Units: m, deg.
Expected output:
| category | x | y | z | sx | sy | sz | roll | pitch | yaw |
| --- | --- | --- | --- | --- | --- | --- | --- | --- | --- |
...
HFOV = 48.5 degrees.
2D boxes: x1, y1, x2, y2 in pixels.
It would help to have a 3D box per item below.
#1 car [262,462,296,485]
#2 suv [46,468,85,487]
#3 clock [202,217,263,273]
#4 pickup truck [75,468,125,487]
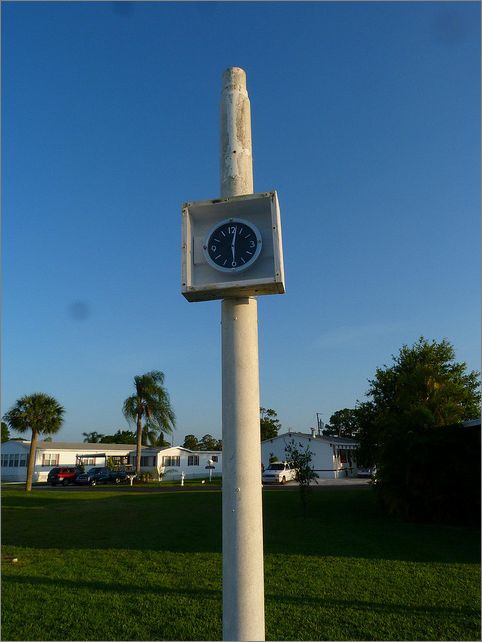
| category | x | y | z | sx | sy | sz | roll | pitch | yaw |
| --- | --- | --- | --- | --- | --- | --- | --- | --- | --- |
| car | 2.392 | 9.732 | 34.387 | 1.483 | 1.338 | 2.889 | -6 | -14 | 16 |
| suv | -11.355 | 9.905 | 34.899 | 1.096 | 1.011 | 2.274 | -3 | -4 | 25 |
| clock | -0.074 | -0.500 | 3.569 | 0.409 | 0.427 | 0.126 | -10 | -16 | 29 |
| pickup truck | -9.239 | 10.119 | 34.831 | 1.108 | 0.910 | 2.506 | -14 | -26 | 32 |
